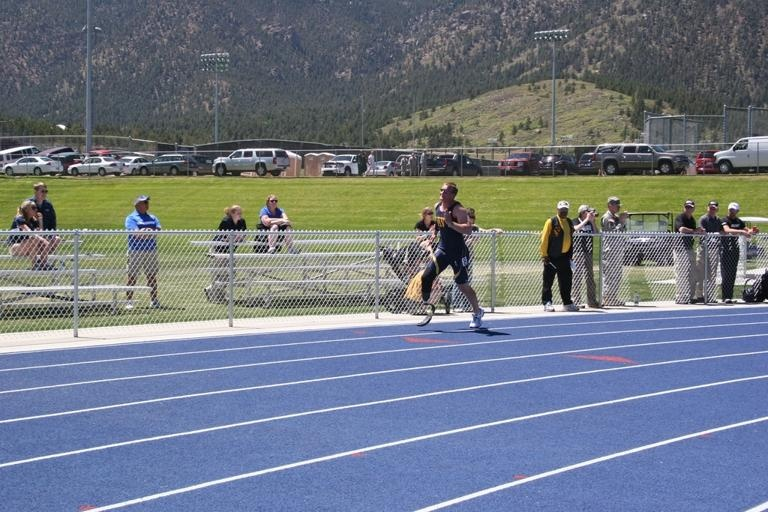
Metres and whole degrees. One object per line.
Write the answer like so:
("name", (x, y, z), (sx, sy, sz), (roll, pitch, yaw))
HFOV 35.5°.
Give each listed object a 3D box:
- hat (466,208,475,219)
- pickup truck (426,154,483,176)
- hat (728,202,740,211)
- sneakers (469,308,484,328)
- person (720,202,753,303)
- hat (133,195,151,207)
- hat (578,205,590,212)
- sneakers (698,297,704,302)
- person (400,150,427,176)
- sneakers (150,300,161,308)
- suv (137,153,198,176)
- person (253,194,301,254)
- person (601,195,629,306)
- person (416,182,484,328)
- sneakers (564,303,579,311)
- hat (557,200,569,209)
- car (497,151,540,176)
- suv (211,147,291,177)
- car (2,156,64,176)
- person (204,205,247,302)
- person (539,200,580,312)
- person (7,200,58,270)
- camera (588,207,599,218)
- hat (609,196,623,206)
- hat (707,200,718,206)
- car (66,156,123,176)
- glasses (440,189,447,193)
("hat", (1.703, -0.926, 27.325), (0.185, 0.245, 0.240), (-1, 4, -4))
("pickup truck", (2.827, -4.408, 60.359), (2.335, 0.888, 1.165), (-5, 11, -17))
("hat", (8.731, -1.262, 31.928), (0.257, 0.143, 0.428), (6, 0, 16))
("sneakers", (1.706, 1.332, 25.507), (0.170, 0.505, 0.222), (-2, -41, 35))
("person", (8.068, 0.034, 29.561), (0.623, 2.387, 1.230), (4, 13, 15))
("hat", (-6.330, -1.385, 31.407), (0.439, 0.243, 0.302), (-32, -13, 32))
("hat", (4.720, -1.176, 30.800), (0.165, 0.134, 0.245), (-16, -4, -11))
("sneakers", (7.212, 1.102, 29.187), (0.151, 0.108, 0.086), (2, 6, 24))
("person", (0.993, -4.562, 61.222), (0.981, 0.756, 1.523), (0, 3, 7))
("sneakers", (-5.104, 1.099, 26.798), (0.135, 0.103, 0.169), (34, -13, -35))
("suv", (-11.896, -4.903, 66.062), (2.644, 1.004, 1.249), (1, 5, -5))
("person", (-2.721, -0.767, 28.782), (0.680, 1.355, 1.611), (-4, 8, -17))
("person", (5.121, -0.139, 28.636), (0.726, 2.827, 0.812), (-4, -12, 30))
("person", (1.183, 0.058, 24.951), (1.189, 3.143, 1.006), (2, 13, 3))
("sneakers", (3.968, 1.201, 27.671), (0.285, 0.177, 0.159), (-2, 7, -9))
("hat", (3.692, -1.087, 26.919), (0.333, 0.266, 0.494), (4, 1, 4))
("car", (6.082, -4.460, 59.415), (1.005, 0.841, 1.817), (1, 2, 35))
("suv", (-7.300, -4.855, 63.612), (2.955, 1.196, 1.713), (3, 7, 10))
("car", (-18.663, -4.710, 64.496), (2.651, 0.852, 1.198), (2, 6, 9))
("person", (-3.744, 0.054, 27.863), (0.898, 0.574, 2.031), (17, -36, -1))
("person", (3.628, 0.052, 27.262), (0.756, 2.614, 0.710), (3, 13, 11))
("person", (-7.498, -0.330, 25.895), (0.963, 1.410, 1.810), (-3, 15, -18))
("camera", (5.114, -1.101, 31.826), (0.302, 0.122, 0.322), (0, 10, -17))
("hat", (6.009, -1.476, 33.634), (0.465, 0.254, 0.352), (-3, 10, -29))
("hat", (8.571, -1.418, 33.391), (0.201, 0.113, 0.339), (2, -1, 18))
("car", (-15.488, -4.682, 64.919), (2.491, 0.884, 1.151), (3, 7, 15))
("glasses", (0.996, -1.314, 24.524), (0.079, 0.108, 0.105), (-1, -40, -41))
